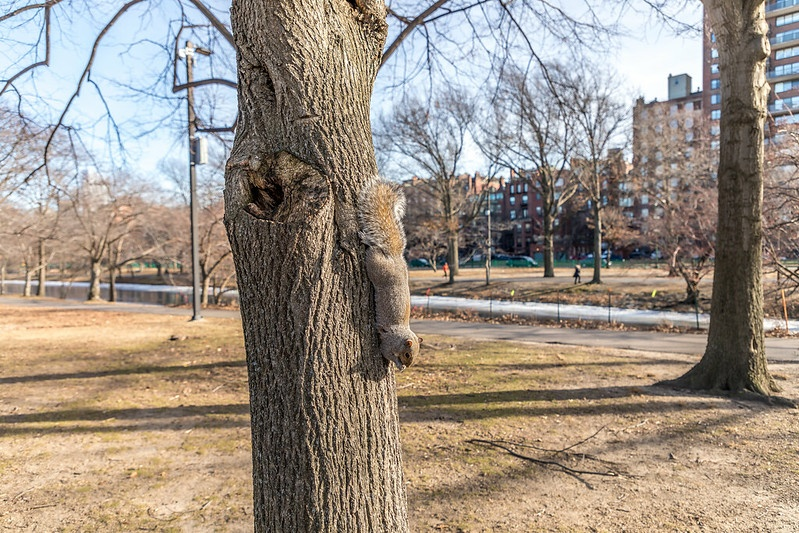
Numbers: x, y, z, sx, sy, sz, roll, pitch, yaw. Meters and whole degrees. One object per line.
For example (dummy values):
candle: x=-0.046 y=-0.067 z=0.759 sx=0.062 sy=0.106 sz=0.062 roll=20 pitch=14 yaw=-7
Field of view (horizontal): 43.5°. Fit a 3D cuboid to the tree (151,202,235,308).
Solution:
tree: x=-10.099 y=-0.703 z=49.103 sx=1.849 sy=5.257 sz=2.118 roll=-5 pitch=6 yaw=-41
